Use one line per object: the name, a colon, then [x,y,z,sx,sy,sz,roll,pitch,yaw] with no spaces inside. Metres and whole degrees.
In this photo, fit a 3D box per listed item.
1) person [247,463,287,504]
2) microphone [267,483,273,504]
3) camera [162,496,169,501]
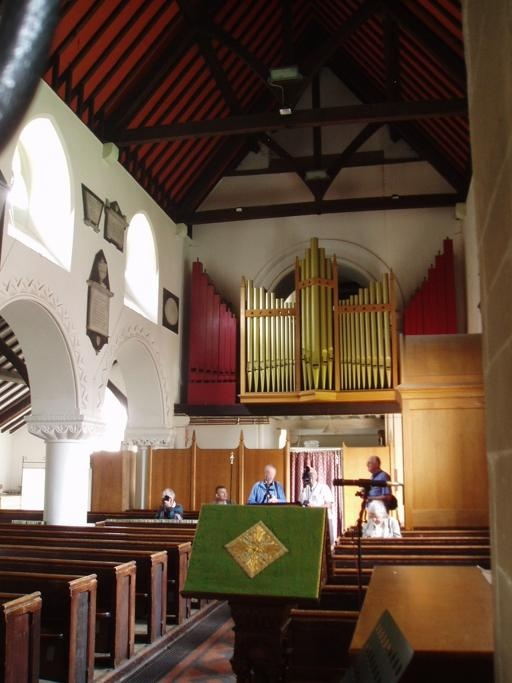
person: [0.136,1.928,8.161,0.473,0.490,1.398,-2,-13,0]
microphone: [0.172,2.005,8.007,0.120,0.238,0.315,-2,-12,1]
camera: [-1.294,2.248,8.587,0.072,0.085,0.080,5,-12,-9]
